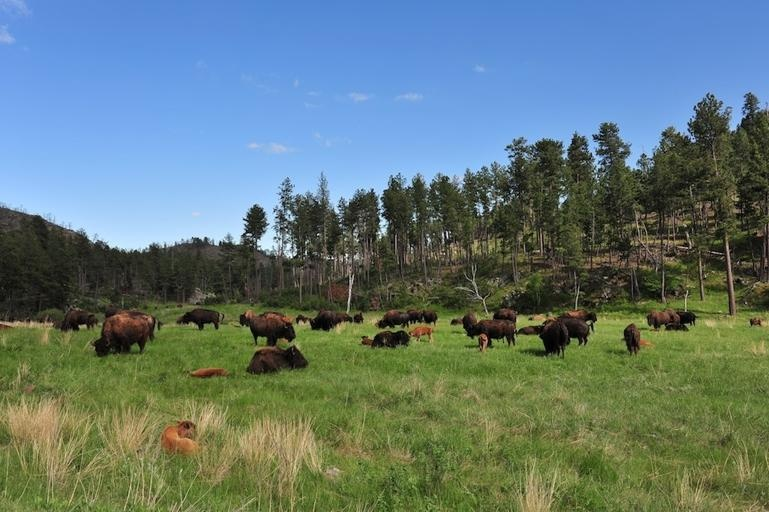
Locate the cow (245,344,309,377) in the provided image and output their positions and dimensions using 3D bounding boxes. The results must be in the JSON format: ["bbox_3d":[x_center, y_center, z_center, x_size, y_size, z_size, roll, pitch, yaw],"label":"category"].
[{"bbox_3d":[-6.965,6.799,39.417,3.639,2.033,1.588,-7,1,-27],"label":"cow"}]

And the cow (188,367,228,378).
[{"bbox_3d":[-10.690,7.015,37.532,2.595,0.838,0.935,1,-12,-2],"label":"cow"}]
